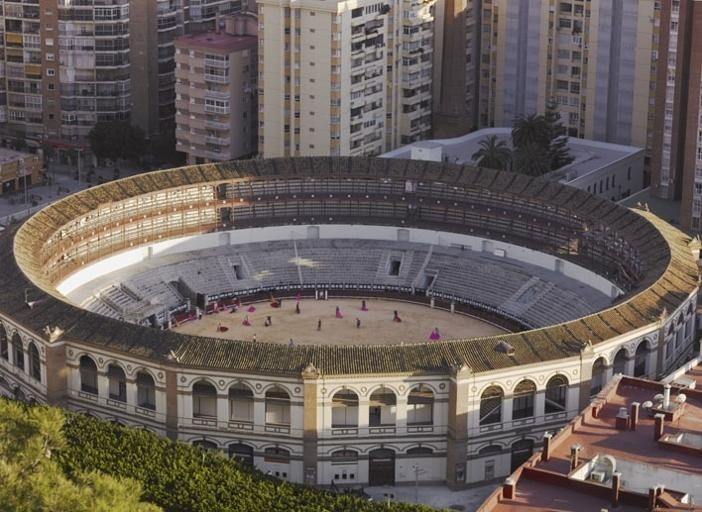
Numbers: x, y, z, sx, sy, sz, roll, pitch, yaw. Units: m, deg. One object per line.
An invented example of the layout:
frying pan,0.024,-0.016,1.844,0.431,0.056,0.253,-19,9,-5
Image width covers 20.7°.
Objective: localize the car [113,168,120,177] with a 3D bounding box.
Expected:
car,-32.788,-11.947,272.172,1.642,0.667,7.184,4,6,-6
